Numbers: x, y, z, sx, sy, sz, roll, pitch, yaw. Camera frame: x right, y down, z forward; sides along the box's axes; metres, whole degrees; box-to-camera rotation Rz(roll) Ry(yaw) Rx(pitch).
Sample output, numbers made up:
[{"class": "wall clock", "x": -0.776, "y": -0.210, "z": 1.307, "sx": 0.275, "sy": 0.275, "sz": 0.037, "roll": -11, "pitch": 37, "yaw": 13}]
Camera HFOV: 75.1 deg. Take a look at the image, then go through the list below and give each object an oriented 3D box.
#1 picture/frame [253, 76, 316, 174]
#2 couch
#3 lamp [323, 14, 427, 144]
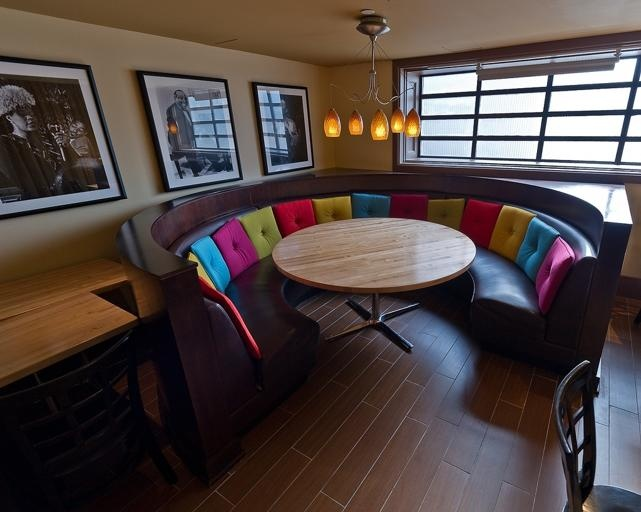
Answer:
[{"class": "picture/frame", "x": -0.423, "y": -1.428, "z": 4.480, "sx": 0.059, "sy": 1.011, "sz": 0.935, "roll": 9, "pitch": 19, "yaw": 34}, {"class": "couch", "x": 0.586, "y": 0.044, "z": 3.568, "sx": 4.039, "sy": 1.301, "sz": 2.771, "roll": -14, "pitch": 24, "yaw": -23}, {"class": "lamp", "x": 0.403, "y": -1.428, "z": 3.356, "sx": 0.658, "sy": 0.847, "sz": 0.760, "roll": -5, "pitch": 23, "yaw": -11}]
